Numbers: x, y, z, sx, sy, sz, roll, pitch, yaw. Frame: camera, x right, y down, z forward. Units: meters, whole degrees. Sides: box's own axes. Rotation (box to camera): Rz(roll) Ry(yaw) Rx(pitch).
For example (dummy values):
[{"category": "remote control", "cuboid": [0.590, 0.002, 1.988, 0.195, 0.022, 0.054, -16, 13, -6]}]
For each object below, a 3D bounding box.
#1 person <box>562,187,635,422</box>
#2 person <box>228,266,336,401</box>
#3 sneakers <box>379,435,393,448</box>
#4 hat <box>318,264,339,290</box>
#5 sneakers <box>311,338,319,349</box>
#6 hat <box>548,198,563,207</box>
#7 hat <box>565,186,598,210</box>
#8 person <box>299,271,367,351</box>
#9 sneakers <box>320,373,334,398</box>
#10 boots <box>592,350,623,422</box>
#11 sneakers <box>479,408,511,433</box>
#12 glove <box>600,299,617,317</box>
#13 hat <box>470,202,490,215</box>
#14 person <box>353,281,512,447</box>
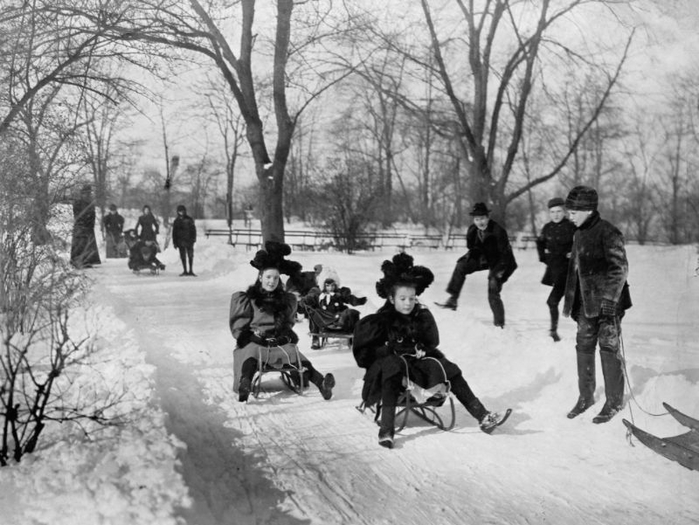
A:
[{"category": "person", "cuboid": [2.500, 0.439, 7.869, 0.376, 2.402, 0.804, -6, 14, -36]}, {"category": "person", "cuboid": [-0.859, 0.752, 8.680, 0.960, 1.591, 2.246, 1, 5, -13]}, {"category": "sneakers", "cuboid": [0.356, 1.707, 7.414, 0.155, 0.133, 0.085, 2, 12, -3]}, {"category": "hat", "cuboid": [-0.342, 0.213, 12.147, 0.241, 0.324, 0.401, -1, -2, -5]}, {"category": "sneakers", "cuboid": [-0.514, 1.210, 11.604, 0.091, 0.063, 0.158, -10, 42, 32]}, {"category": "hat", "cuboid": [2.742, -0.816, 10.242, 0.196, 0.152, 0.308, 5, 13, 11]}, {"category": "hat", "cuboid": [2.364, -0.657, 7.835, 0.231, 0.224, 0.256, 14, 19, 28]}, {"category": "person", "cuboid": [-0.226, 0.744, 11.751, 0.888, 1.252, 0.677, -6, -13, 9]}, {"category": "sneakers", "cuboid": [-0.250, 1.391, 8.704, 0.113, 0.360, 0.151, 5, -3, -5]}, {"category": "boots", "cuboid": [2.657, 1.249, 7.756, 0.330, 0.793, 0.150, -1, 12, -13]}, {"category": "sneakers", "cuboid": [1.463, 1.564, 7.815, 0.278, 0.303, 0.286, 3, 12, 2]}, {"category": "glove", "cuboid": [2.539, 0.440, 7.559, 0.163, 0.254, 0.136, -1, 4, 8]}, {"category": "hat", "cuboid": [1.896, -0.800, 11.242, 0.232, 0.215, 0.420, 4, 13, 4]}, {"category": "person", "cuboid": [0.647, 0.833, 7.608, 1.151, 1.313, 2.113, -1, 10, -16]}]
